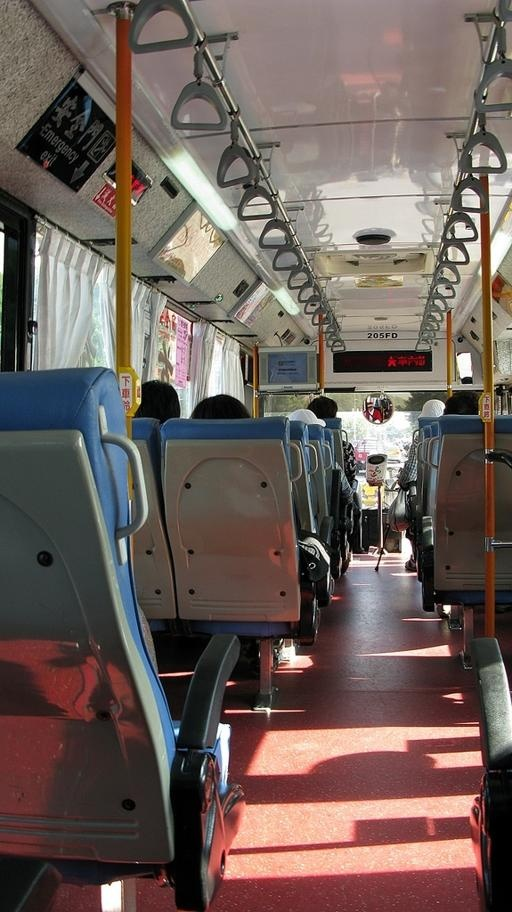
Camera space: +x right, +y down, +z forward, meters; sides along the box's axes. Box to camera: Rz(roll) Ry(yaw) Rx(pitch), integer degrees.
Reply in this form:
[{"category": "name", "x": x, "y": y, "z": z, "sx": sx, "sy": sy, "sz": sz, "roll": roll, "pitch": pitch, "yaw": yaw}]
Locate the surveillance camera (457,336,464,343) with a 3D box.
[{"category": "surveillance camera", "x": 4.257, "y": -2.421, "z": 12.389, "sx": 0.093, "sy": 0.130, "sz": 0.116, "roll": -3, "pitch": -21, "yaw": 12}]
